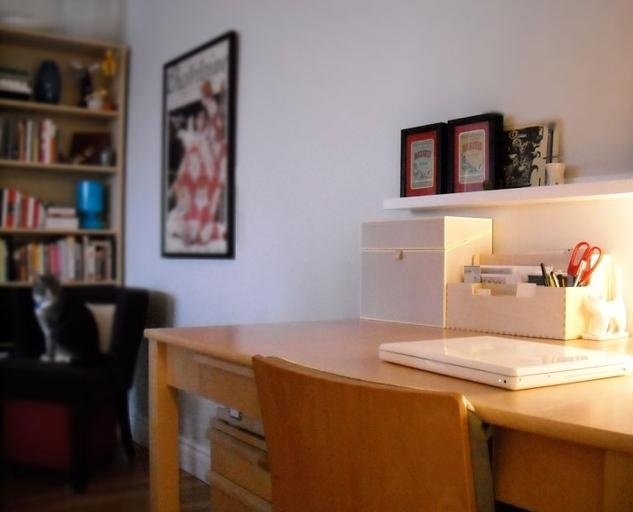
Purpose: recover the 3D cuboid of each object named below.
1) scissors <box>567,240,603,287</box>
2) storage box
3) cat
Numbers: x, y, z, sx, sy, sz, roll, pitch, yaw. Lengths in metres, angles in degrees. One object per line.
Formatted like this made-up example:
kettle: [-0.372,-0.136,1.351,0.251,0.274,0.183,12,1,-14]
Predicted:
scissors: [0.677,0.012,1.345,0.075,0.140,0.036,33,-16,-7]
storage box: [0.440,0.051,1.554,0.620,0.315,0.214,1,-2,40]
cat: [-0.922,0.216,1.932,0.285,0.353,0.209,1,26,-26]
